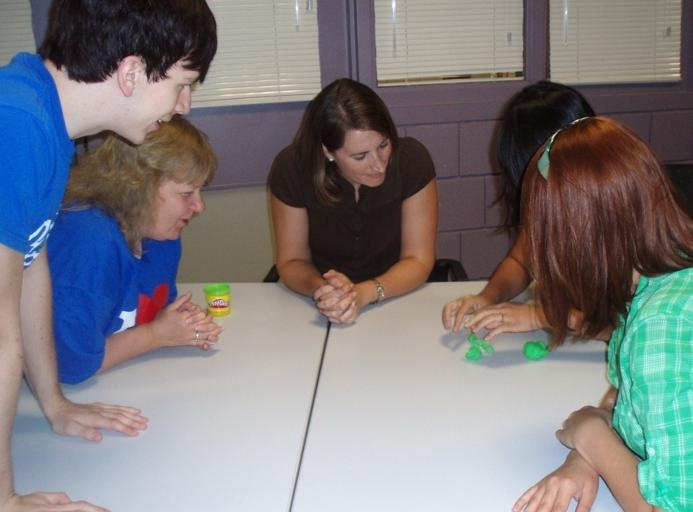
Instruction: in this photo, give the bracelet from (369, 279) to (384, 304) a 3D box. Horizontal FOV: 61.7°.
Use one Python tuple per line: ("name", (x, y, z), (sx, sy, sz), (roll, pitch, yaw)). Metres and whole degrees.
("bracelet", (0.108, 0.112, 1.904), (0.038, 0.067, 0.061), (-8, 10, -26))
